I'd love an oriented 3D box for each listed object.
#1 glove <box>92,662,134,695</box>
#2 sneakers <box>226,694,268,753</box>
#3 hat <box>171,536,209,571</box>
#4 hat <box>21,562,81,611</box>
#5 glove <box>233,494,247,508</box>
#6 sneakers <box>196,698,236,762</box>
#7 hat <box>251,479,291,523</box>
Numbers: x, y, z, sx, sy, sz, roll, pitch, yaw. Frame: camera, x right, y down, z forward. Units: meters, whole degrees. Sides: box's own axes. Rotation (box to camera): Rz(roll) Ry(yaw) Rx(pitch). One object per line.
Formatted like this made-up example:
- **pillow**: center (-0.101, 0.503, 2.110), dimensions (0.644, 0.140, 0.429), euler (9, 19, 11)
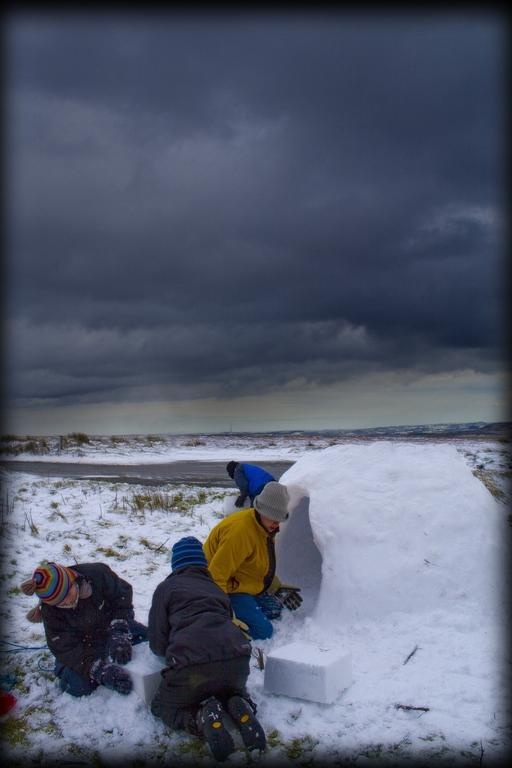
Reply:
- **glove**: center (-0.812, 1.664, 3.515), dimensions (0.216, 0.140, 0.085), euler (24, 11, 11)
- **sneakers**: center (-0.054, 1.655, 2.998), dimensions (0.132, 0.239, 0.095), euler (-23, -21, -11)
- **hat**: center (-0.414, 1.038, 3.800), dimensions (0.178, 0.208, 0.232), euler (1, -2, -10)
- **hat**: center (-1.156, 1.136, 3.489), dimensions (0.216, 0.243, 0.373), euler (0, -2, 1)
- **glove**: center (-0.154, 1.088, 5.699), dimensions (0.040, 0.127, 0.087), euler (19, 26, -46)
- **sneakers**: center (-0.195, 1.638, 2.927), dimensions (0.156, 0.268, 0.117), euler (-19, -27, -15)
- **hat**: center (0.097, 0.795, 4.297), dimensions (0.214, 0.160, 0.288), euler (25, 14, -24)
